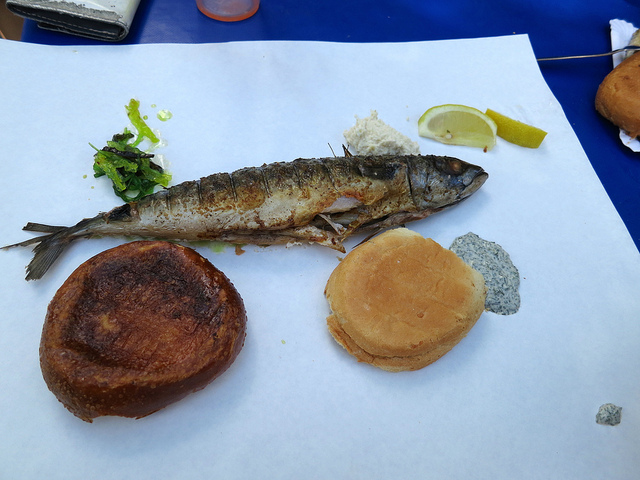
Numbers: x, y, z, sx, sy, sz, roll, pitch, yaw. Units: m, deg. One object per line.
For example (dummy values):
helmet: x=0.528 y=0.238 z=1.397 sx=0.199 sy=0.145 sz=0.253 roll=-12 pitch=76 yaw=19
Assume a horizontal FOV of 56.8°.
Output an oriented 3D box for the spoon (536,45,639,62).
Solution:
spoon: x=2.886 y=-2.028 z=6.403 sx=1.025 sy=0.127 sz=0.151 roll=-7 pitch=20 yaw=-4
